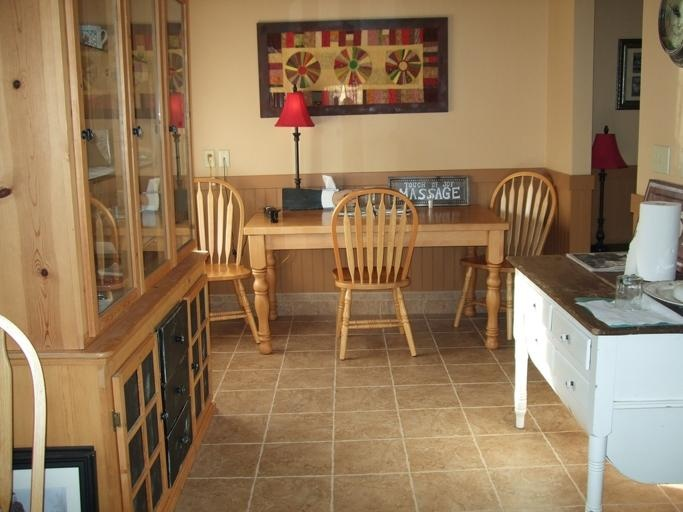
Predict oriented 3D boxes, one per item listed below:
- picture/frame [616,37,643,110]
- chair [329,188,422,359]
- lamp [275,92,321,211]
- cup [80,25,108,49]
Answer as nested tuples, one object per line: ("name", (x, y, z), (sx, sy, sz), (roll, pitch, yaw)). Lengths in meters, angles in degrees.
("picture/frame", (2.818, -1.780, 5.460), (0.222, 0.683, 0.067), (-3, 15, 1))
("chair", (0.227, 0.087, 3.842), (0.680, 1.120, 0.713), (6, 13, 38))
("lamp", (-0.328, -0.819, 4.242), (0.302, 0.907, 0.328), (-4, 15, -4))
("cup", (-0.813, -0.721, 1.833), (0.078, 0.063, 0.045), (0, 10, -32))
